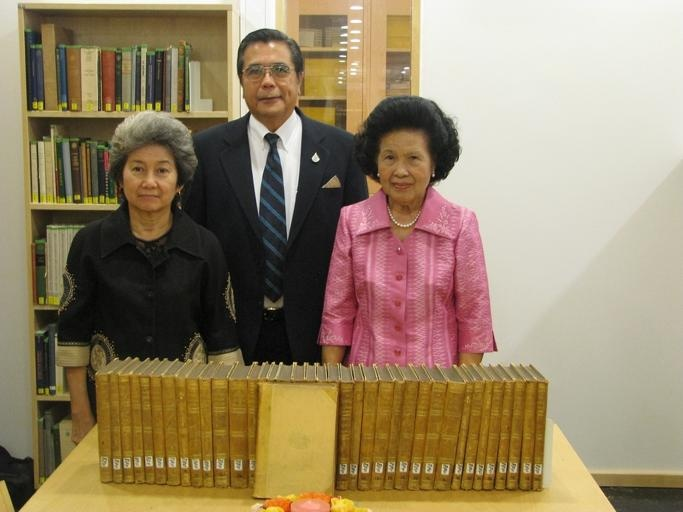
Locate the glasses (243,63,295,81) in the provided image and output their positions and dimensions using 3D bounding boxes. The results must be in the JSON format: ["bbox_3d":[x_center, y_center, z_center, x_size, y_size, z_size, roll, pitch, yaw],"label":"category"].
[{"bbox_3d":[-0.334,-0.838,2.829,0.206,0.076,0.043,-1,9,-5],"label":"glasses"}]

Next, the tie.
[{"bbox_3d":[-0.318,-0.184,2.905,0.125,0.769,0.183,-2,9,-12],"label":"tie"}]

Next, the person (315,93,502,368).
[{"bbox_3d":[0.267,-0.103,2.436,0.674,1.019,0.324,2,9,12],"label":"person"}]
